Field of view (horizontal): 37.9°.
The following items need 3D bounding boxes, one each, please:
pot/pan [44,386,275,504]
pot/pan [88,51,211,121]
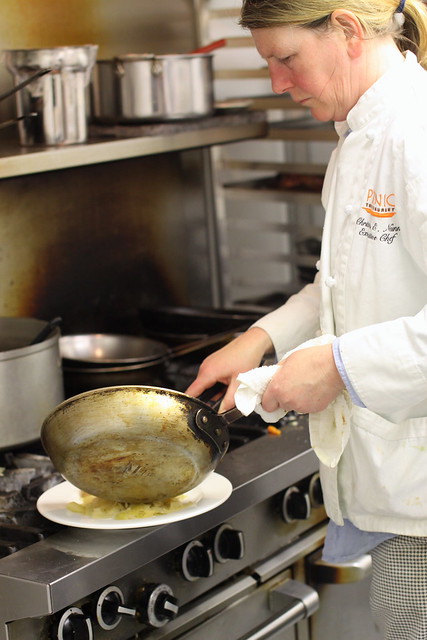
[{"bbox_3d":[-0.081,0.150,0.788,0.236,0.133,0.043,-15,42,2],"label":"pot/pan"},{"bbox_3d":[-0.137,-0.462,1.280,0.172,0.073,0.217,4,7,38],"label":"pot/pan"}]
